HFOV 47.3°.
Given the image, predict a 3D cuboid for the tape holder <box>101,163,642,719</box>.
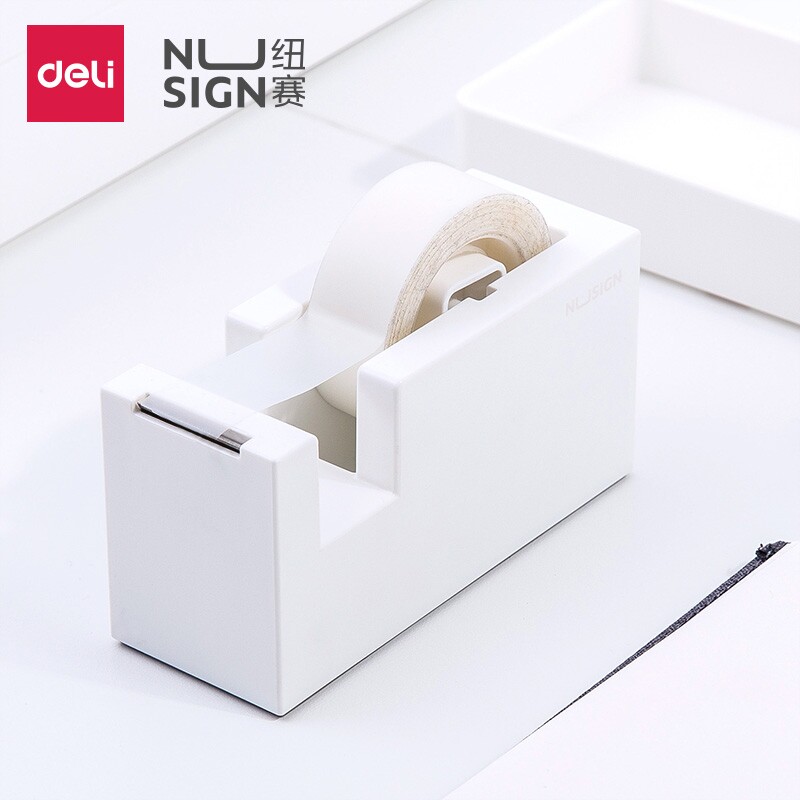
[{"bbox_3d":[-0.018,-0.017,1.215,0.308,0.476,0.697,25,45,38],"label":"tape holder"}]
